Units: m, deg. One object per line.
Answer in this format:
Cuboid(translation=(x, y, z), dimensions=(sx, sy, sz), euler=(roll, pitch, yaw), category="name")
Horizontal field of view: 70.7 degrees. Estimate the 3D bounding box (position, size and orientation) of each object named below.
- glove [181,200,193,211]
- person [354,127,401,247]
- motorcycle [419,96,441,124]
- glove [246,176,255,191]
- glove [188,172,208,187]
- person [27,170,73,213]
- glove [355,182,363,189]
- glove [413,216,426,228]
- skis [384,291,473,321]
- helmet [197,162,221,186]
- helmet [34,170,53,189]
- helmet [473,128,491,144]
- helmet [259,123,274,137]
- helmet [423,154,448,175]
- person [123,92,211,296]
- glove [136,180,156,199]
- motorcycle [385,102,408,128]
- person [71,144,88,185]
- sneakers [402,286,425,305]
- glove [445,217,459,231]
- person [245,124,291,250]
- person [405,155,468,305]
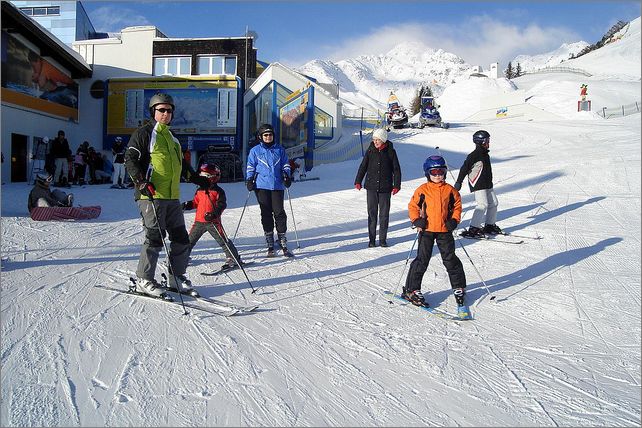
Cuboid(translation=(-1.888, -0.122, 6.352), dimensions=(0.037, 0.141, 0.139), euler=(-3, -5, 43), category="glove")
Cuboid(translation=(0.986, -0.464, 7.919), dimensions=(0.780, 2.055, 0.689), euler=(2, 7, 7), category="person")
Cuboid(translation=(6.182, -5.794, 25.740), dimensions=(1.175, 1.850, 1.608), euler=(3, 8, 12), category="motorcycle")
Cuboid(translation=(-1.088, -0.468, 7.018), dimensions=(0.068, 0.198, 0.142), euler=(0, -10, 36), category="glove")
Cuboid(translation=(-1.523, -0.419, 5.660), dimensions=(0.244, 0.139, 0.097), euler=(32, 3, -23), category="glove")
Cuboid(translation=(-5.674, -0.443, 9.364), dimensions=(0.883, 0.780, 0.904), euler=(-12, 49, -31), category="person")
Cuboid(translation=(0.655, -0.484, 7.826), dimensions=(0.135, 0.153, 0.174), euler=(-2, 4, 0), category="glove")
Cuboid(translation=(1.186, 0.114, 5.450), dimensions=(0.122, 0.142, 0.148), euler=(6, 9, 33), category="glove")
Cuboid(translation=(1.286, 1.125, 5.497), dimensions=(0.130, 0.100, 1.202), euler=(-7, 12, -37), category="skis")
Cuboid(translation=(-1.648, -0.579, 6.698), dimensions=(0.330, 0.319, 0.275), euler=(4, 20, -33), category="helmet")
Cuboid(translation=(-5.654, -0.713, 9.202), dimensions=(0.268, 0.334, 0.383), euler=(-4, 9, -36), category="helmet")
Cuboid(translation=(2.864, -1.408, 8.192), dimensions=(0.284, 0.243, 0.238), euler=(-14, 19, -1), category="helmet")
Cuboid(translation=(-0.874, -1.333, 7.165), dimensions=(0.177, 0.203, 0.211), euler=(-4, 0, -32), category="helmet")
Cuboid(translation=(1.408, -0.607, 5.633), dimensions=(0.219, 0.258, 0.264), euler=(-2, 0, 0), category="helmet")
Cuboid(translation=(-1.881, -0.218, 5.404), dimensions=(0.837, 2.420, 0.569), euler=(-3, 9, -32), category="person")
Cuboid(translation=(-1.991, -0.282, 5.162), dimensions=(0.182, 0.199, 0.289), euler=(-1, 8, -20), category="glove")
Cuboid(translation=(4.288, -5.857, 26.262), dimensions=(0.981, 0.744, 1.657), euler=(-10, 46, 11), category="motorcycle")
Cuboid(translation=(-8.174, -1.728, 15.382), dimensions=(0.460, 1.394, 1.578), euler=(-3, 8, -28), category="person")
Cuboid(translation=(1.130, 1.017, 5.599), dimensions=(0.125, 0.149, 0.337), euler=(10, 4, -41), category="sneakers")
Cuboid(translation=(1.552, 0.132, 5.391), dimensions=(0.133, 0.170, 0.130), euler=(2, 7, 10), category="glove")
Cuboid(translation=(-0.818, -0.377, 7.256), dimensions=(0.733, 2.076, 0.540), euler=(0, 7, -8), category="person")
Cuboid(translation=(1.412, 0.211, 5.544), dimensions=(0.761, 1.830, 0.390), euler=(3, 7, 12), category="person")
